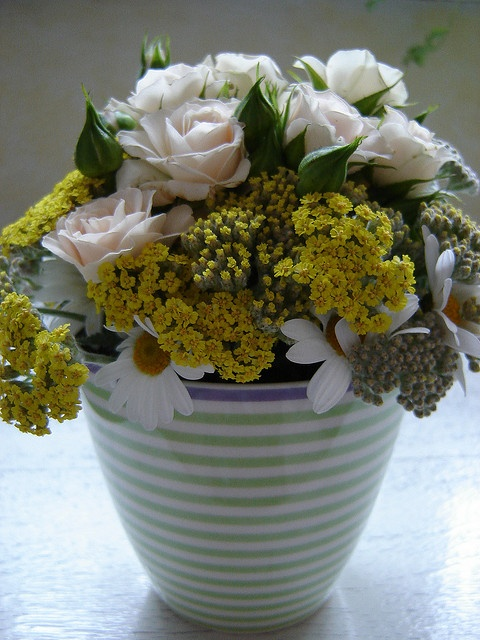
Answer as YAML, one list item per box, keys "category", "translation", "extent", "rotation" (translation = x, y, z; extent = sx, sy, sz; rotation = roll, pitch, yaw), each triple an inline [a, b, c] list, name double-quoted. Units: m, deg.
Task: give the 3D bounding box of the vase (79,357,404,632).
- category: "vase"
  translation: [0.019, 0.149, 0.688]
  extent: [0.288, 0.184, 0.263]
  rotation: [3, 13, 15]
